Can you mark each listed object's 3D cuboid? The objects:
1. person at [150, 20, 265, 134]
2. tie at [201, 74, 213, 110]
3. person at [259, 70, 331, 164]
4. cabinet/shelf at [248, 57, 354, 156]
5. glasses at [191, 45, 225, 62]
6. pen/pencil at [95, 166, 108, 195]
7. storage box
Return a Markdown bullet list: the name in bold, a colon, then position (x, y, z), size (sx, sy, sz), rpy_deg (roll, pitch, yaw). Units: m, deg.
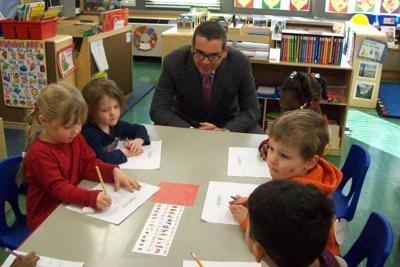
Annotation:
- **person**: position (0.030, -0.402, 2.803), size (0.985, 1.282, 0.920), rpy_deg (-6, 43, -7)
- **tie**: position (0.070, -0.386, 2.749), size (0.096, 0.299, 0.067), rpy_deg (0, 22, 1)
- **person**: position (0.823, -0.159, 2.544), size (0.661, 0.718, 0.477), rpy_deg (-6, 12, -15)
- **cabinet/shelf**: position (0.804, -0.278, 2.705), size (0.696, 0.790, 0.591), rpy_deg (-2, 26, 2)
- **glasses**: position (0.066, -0.652, 2.510), size (0.246, 0.109, 0.063), rpy_deg (1, 22, 3)
- **pen/pencil**: position (-0.553, 0.265, 1.688), size (0.018, 0.162, 0.017), rpy_deg (-9, 21, 10)
- **storage box**: position (-1.905, -1.152, 3.333), size (0.567, 0.210, 0.299), rpy_deg (-1, 22, -3)
